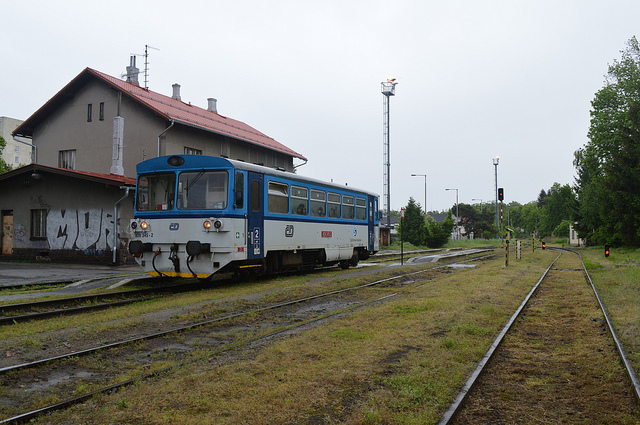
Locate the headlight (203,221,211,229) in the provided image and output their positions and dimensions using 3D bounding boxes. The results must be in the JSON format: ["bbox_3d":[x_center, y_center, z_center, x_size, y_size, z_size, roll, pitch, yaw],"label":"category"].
[{"bbox_3d":[-3.807,0.416,18.179,0.206,0.254,0.069,5,10,25],"label":"headlight"}]

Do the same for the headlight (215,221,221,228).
[{"bbox_3d":[-3.420,0.394,18.084,0.178,0.197,0.049,7,-2,3],"label":"headlight"}]

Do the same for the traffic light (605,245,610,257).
[{"bbox_3d":[18.934,2.677,35.375,0.171,0.725,1.076,4,10,24],"label":"traffic light"}]

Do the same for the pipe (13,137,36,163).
[{"bbox_3d":[-19.950,-4.289,36.658,0.988,1.361,5.917,-5,10,-28],"label":"pipe"}]

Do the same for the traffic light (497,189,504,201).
[{"bbox_3d":[10.164,-1.013,30.006,0.183,0.552,0.612,2,9,13],"label":"traffic light"}]

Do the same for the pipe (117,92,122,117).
[{"bbox_3d":[-12.014,-6.524,32.270,0.292,1.465,0.708,-2,9,-14],"label":"pipe"}]

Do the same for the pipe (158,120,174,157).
[{"bbox_3d":[-8.756,-4.265,30.736,1.196,1.898,0.700,8,12,42],"label":"pipe"}]
